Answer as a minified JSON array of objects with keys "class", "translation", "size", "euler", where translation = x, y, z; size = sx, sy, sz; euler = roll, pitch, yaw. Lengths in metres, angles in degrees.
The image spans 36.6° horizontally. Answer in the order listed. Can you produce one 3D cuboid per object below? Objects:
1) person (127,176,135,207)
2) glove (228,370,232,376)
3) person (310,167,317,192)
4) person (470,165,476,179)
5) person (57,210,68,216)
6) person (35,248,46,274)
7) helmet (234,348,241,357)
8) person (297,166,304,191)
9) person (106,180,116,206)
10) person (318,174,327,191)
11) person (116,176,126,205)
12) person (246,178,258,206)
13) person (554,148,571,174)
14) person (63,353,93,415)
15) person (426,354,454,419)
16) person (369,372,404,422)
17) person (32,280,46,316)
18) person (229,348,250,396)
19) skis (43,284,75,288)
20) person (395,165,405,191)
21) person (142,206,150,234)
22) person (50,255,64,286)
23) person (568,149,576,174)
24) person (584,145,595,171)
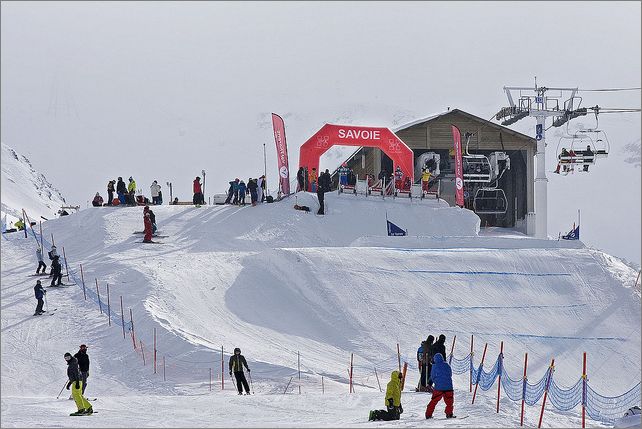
[{"class":"person","translation":[-10.815,-1.278,55.478],"size":[0.404,1.504,0.650],"euler":[1,5,-11]},{"class":"glove","translation":[-3.492,6.148,37.603],"size":[0.057,0.237,0.248],"euler":[7,-7,-13]},{"class":"person","translation":[-0.371,-1.982,56.938],"size":[0.427,1.418,0.548],"euler":[2,5,-1]},{"class":"person","translation":[9.892,-2.708,62.334],"size":[0.294,0.795,0.415],"euler":[2,5,7]},{"class":"person","translation":[-17.999,-0.146,67.628],"size":[0.359,0.205,0.776],"euler":[-6,14,-7]},{"class":"person","translation":[-13.312,2.235,46.050],"size":[0.466,1.227,1.248],"euler":[0,5,-17]},{"class":"helmet","translation":[-3.177,5.231,37.027],"size":[0.200,0.243,0.242],"euler":[4,2,-10]},{"class":"person","translation":[-1.136,-2.101,57.205],"size":[0.602,1.375,0.336],"euler":[6,7,43]},{"class":"person","translation":[-11.975,-1.177,55.249],"size":[0.353,1.368,1.265],"euler":[0,5,-16]},{"class":"person","translation":[0.179,-1.836,54.978],"size":[0.545,1.125,0.843],"euler":[2,5,-1]},{"class":"person","translation":[-11.347,-1.296,55.181],"size":[0.503,1.523,0.928],"euler":[1,5,-7]},{"class":"person","translation":[-3.925,-1.304,56.164],"size":[0.643,1.537,1.400],"euler":[2,5,-4]},{"class":"person","translation":[14.096,-3.080,55.871],"size":[0.757,1.435,1.075],"euler":[3,5,14]},{"class":"person","translation":[-8.858,6.097,35.343],"size":[0.871,2.111,1.450],"euler":[0,5,-25]},{"class":"person","translation":[4.350,6.071,34.578],"size":[1.044,2.303,0.806],"euler":[3,5,8]},{"class":"person","translation":[2.425,6.366,34.309],"size":[0.937,1.893,0.847],"euler":[4,5,25]},{"class":"person","translation":[-12.247,3.589,42.116],"size":[0.448,1.557,0.838],"euler":[1,5,-16]},{"class":"person","translation":[-3.108,5.985,37.483],"size":[0.799,1.839,1.008],"euler":[1,5,-5]},{"class":"skis","translation":[-11.946,3.305,44.641],"size":[0.915,0.173,0.097],"euler":[2,-17,-10]},{"class":"person","translation":[4.678,-2.151,57.471],"size":[0.550,1.250,1.166],"euler":[2,5,4]},{"class":"person","translation":[-9.007,0.207,50.159],"size":[0.287,1.307,0.791],"euler":[1,5,-9]},{"class":"person","translation":[-12.116,2.583,44.592],"size":[0.541,1.487,0.588],"euler":[-1,6,-34]},{"class":"person","translation":[14.522,-3.047,55.736],"size":[0.497,1.406,0.677],"euler":[1,5,-9]},{"class":"person","translation":[15.492,-3.206,55.711],"size":[0.574,1.516,0.924],"euler":[3,5,15]}]
